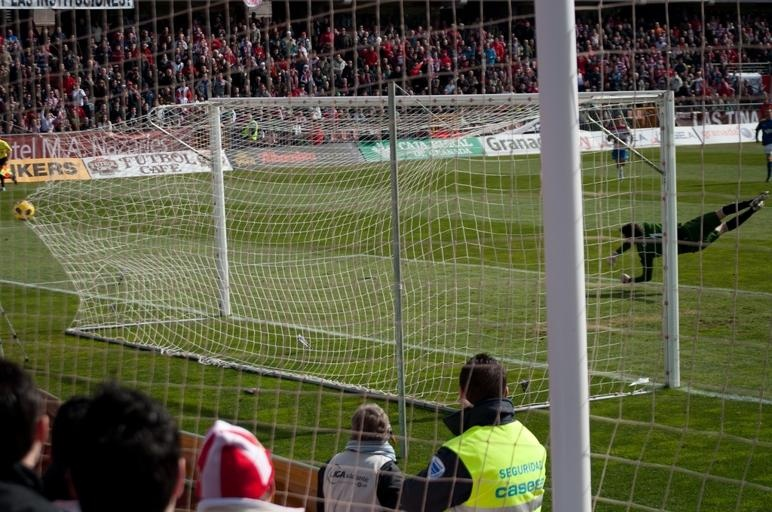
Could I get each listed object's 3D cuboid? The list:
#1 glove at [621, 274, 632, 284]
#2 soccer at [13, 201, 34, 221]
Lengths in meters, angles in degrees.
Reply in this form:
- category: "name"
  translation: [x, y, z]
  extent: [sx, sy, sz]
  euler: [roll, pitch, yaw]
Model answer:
- category: "glove"
  translation: [3.006, 0.287, 13.358]
  extent: [0.127, 0.086, 0.205]
  euler: [-4, -9, -3]
- category: "soccer"
  translation: [-3.948, -0.502, 11.733]
  extent: [0.216, 0.238, 0.209]
  euler: [-2, 5, 4]
